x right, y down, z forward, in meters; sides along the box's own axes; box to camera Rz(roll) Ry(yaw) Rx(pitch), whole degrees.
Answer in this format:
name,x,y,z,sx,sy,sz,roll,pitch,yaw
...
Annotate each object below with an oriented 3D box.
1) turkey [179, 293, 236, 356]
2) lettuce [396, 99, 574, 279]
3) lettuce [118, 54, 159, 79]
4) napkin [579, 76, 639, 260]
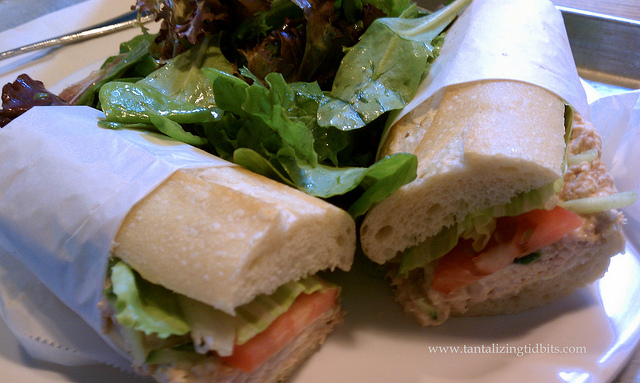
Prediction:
name,x,y,z,sx,sy,sz,roll,pitch,yaw
turkey,-0.470,0.557,2.205,0.224,0.081,0.269,-6,62,-35
lettuce,0.675,0.117,2.384,0.842,0.225,0.777,-21,35,23
lettuce,-1.035,-0.717,3.069,0.158,0.201,0.043,-13,83,-16
napkin,1.539,-0.127,2.851,0.286,0.277,0.875,3,93,26
